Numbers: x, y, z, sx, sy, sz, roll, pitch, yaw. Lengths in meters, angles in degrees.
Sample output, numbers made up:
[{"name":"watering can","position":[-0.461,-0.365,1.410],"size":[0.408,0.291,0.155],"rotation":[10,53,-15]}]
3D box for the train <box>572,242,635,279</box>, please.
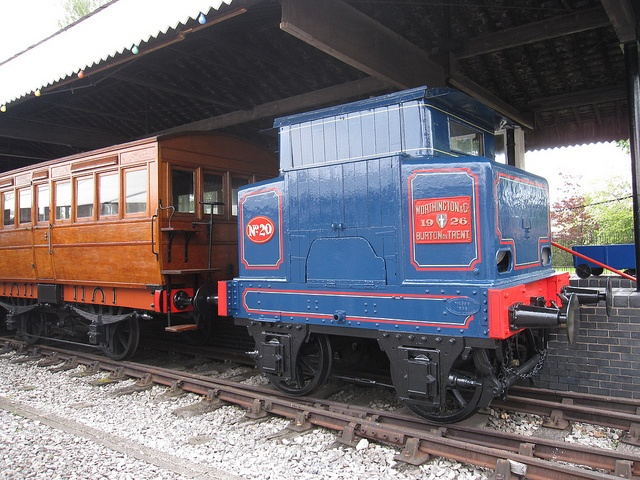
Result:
[{"name":"train","position":[7.572,0.563,12.490],"size":[2.048,1.056,1.163],"rotation":[1,-1,14]}]
